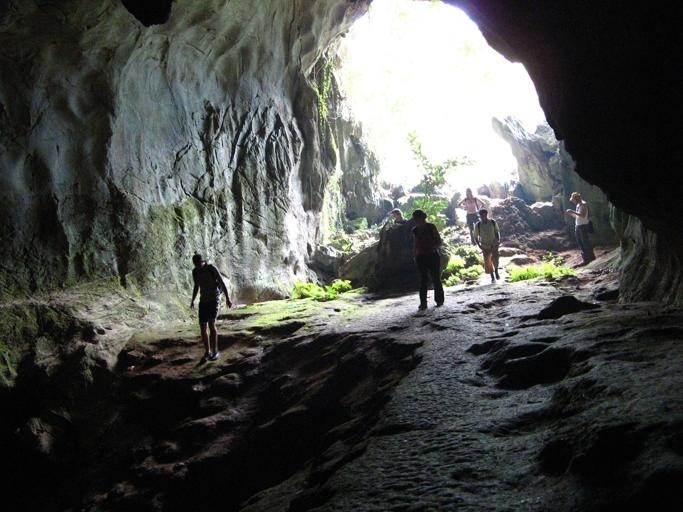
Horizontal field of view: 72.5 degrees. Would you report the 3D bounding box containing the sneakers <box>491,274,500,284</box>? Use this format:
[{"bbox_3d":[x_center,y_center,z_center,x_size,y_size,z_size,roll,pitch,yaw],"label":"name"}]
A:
[{"bbox_3d":[4.285,0.638,13.032,0.130,0.309,0.406,-10,-10,8],"label":"sneakers"}]

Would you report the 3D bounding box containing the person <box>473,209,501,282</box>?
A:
[{"bbox_3d":[3.967,-0.299,12.737,0.611,1.921,1.043,-7,-2,16],"label":"person"}]

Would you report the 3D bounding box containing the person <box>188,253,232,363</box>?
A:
[{"bbox_3d":[-2.570,0.952,9.100,0.665,1.375,1.049,-6,-3,-19],"label":"person"}]

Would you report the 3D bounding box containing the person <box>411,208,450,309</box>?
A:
[{"bbox_3d":[1.790,0.042,9.780,0.575,1.878,0.944,-8,-3,23],"label":"person"}]
